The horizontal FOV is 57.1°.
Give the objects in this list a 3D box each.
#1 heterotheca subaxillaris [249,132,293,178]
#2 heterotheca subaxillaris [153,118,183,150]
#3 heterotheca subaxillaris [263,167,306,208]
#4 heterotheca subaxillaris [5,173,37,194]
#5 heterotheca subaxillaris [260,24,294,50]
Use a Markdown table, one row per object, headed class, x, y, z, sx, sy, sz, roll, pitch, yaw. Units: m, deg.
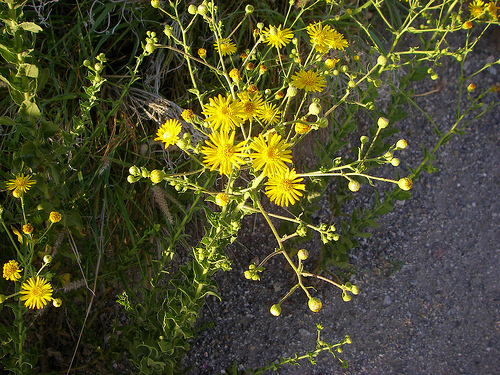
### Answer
| class | x | y | z | sx | sy | sz | roll | pitch | yaw |
| --- | --- | --- | --- | --- | --- | --- | --- | --- | --- |
| heterotheca subaxillaris | 0.098 | -0.166 | 2.294 | 0.202 | 0.221 | 0.259 | 1 | 58 | 2 |
| heterotheca subaxillaris | -0.409 | -0.273 | 2.415 | 0.161 | 0.061 | 0.176 | 20 | 80 | 45 |
| heterotheca subaxillaris | 0.177 | -0.003 | 2.389 | 0.194 | 0.064 | 0.205 | -28 | 97 | 2 |
| heterotheca subaxillaris | -1.266 | -0.018 | 2.543 | 0.141 | 0.093 | 0.107 | -8 | 58 | -4 |
| heterotheca subaxillaris | 0.153 | -0.853 | 2.636 | 0.189 | 0.091 | 0.219 | -2 | 61 | -2 |
